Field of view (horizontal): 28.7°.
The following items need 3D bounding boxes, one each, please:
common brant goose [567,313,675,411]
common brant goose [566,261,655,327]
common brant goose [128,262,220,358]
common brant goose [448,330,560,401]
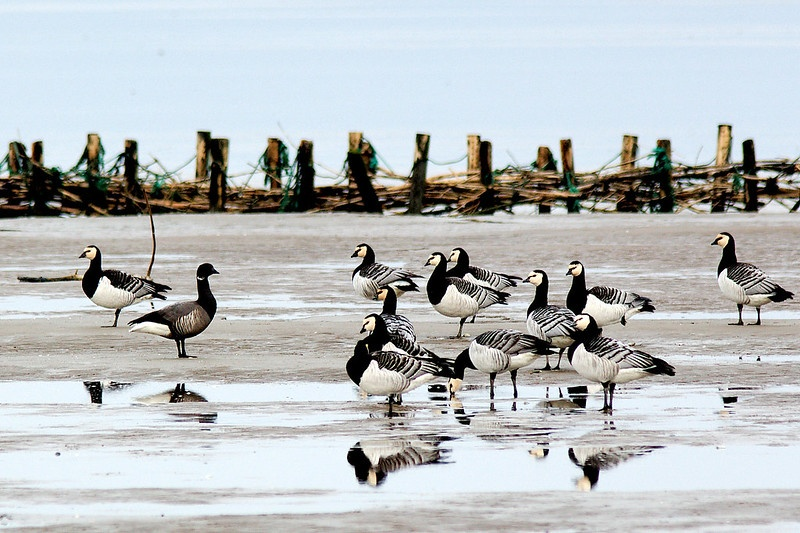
[{"bbox_3d":[3.638,1.639,26.505,1.074,1.359,1.837,-7,14,-25],"label":"common brant goose"},{"bbox_3d":[4.227,0.588,31.811,2.198,1.445,1.074,1,15,-28],"label":"common brant goose"},{"bbox_3d":[-4.234,1.018,30.412,1.029,1.339,1.822,5,14,21],"label":"common brant goose"},{"bbox_3d":[1.603,1.588,27.610,2.155,0.983,0.908,-7,-2,14],"label":"common brant goose"}]
